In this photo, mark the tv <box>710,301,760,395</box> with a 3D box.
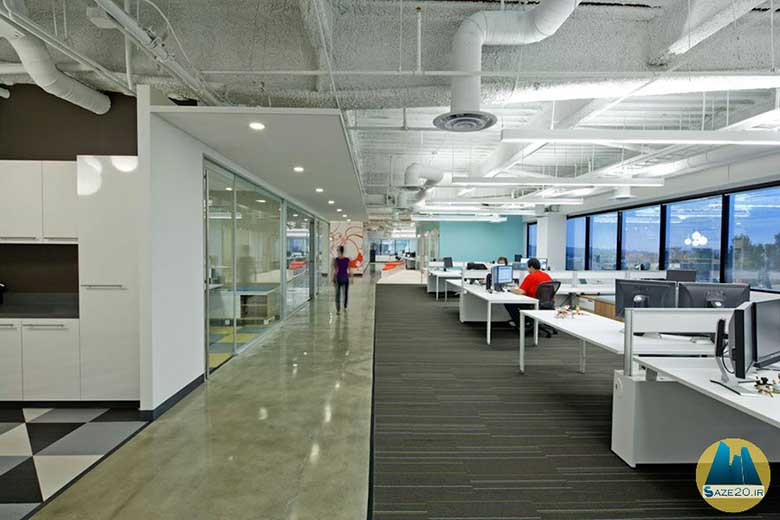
[{"bbox_3d":[3.750,0.991,6.537,0.669,0.963,1.121,-2,-2,29],"label":"tv"}]

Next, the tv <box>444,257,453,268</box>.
[{"bbox_3d":[1.737,0.065,18.223,0.129,0.231,0.366,2,1,38],"label":"tv"}]

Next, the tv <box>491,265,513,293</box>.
[{"bbox_3d":[2.181,0.367,11.842,0.612,0.443,0.223,0,0,-44],"label":"tv"}]
